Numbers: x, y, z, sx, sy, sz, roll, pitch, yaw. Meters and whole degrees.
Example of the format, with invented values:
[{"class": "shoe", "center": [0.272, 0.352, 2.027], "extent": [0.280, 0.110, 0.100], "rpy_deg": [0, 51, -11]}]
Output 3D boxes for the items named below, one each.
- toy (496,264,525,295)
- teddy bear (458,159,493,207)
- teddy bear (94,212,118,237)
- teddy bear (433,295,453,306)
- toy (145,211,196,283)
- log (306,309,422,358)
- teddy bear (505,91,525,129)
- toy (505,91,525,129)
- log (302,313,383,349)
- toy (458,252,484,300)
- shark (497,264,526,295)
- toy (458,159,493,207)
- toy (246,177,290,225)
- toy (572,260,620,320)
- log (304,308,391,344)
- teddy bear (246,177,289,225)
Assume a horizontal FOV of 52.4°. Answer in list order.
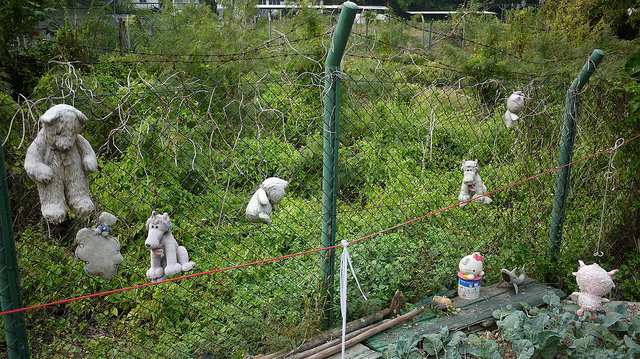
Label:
[{"class": "toy", "center": [3.144, 1.551, 10.406], "extent": [0.540, 0.430, 0.384], "rpy_deg": [5, -3, -35]}, {"class": "teddy bear", "center": [2.373, 0.063, 10.086], "extent": [0.602, 0.712, 0.776], "rpy_deg": [1, 6, 28]}, {"class": "teddy bear", "center": [-2.899, 0.597, 8.748], "extent": [0.269, 0.344, 0.185], "rpy_deg": [1, 20, -7]}, {"class": "teddy bear", "center": [1.907, 1.860, 9.989], "extent": [0.210, 0.063, 0.145], "rpy_deg": [19, 27, 25]}, {"class": "toy", "center": [-2.080, 0.932, 8.828], "extent": [0.597, 0.997, 0.319], "rpy_deg": [-3, 20, -16]}, {"class": "log", "center": [0.621, 2.306, 9.587], "extent": [2.173, 0.296, 0.251], "rpy_deg": [-15, 3, -21]}, {"class": "teddy bear", "center": [3.037, -1.098, 10.150], "extent": [0.272, 0.613, 0.442], "rpy_deg": [-6, 29, -1]}, {"class": "toy", "center": [3.064, -1.081, 10.147], "extent": [0.230, 0.513, 0.373], "rpy_deg": [-6, 52, 12]}, {"class": "log", "center": [0.311, 2.260, 9.614], "extent": [1.295, 0.157, 0.174], "rpy_deg": [-20, 13, -7]}, {"class": "toy", "center": [2.351, 1.494, 10.118], "extent": [0.371, 0.706, 0.268], "rpy_deg": [5, 20, 7]}, {"class": "shark", "center": [3.129, 1.572, 10.423], "extent": [0.684, 0.456, 0.337], "rpy_deg": [11, 3, -42]}, {"class": "toy", "center": [2.378, 0.055, 10.088], "extent": [0.596, 0.733, 0.753], "rpy_deg": [4, 8, 30]}, {"class": "toy", "center": [-0.730, 0.283, 9.209], "extent": [0.634, 0.692, 0.511], "rpy_deg": [-2, 21, -11]}, {"class": "toy", "center": [4.223, 1.729, 9.961], "extent": [0.830, 1.016, 0.440], "rpy_deg": [4, 3, 24]}, {"class": "log", "center": [0.383, 2.199, 9.651], "extent": [1.149, 0.098, 0.254], "rpy_deg": [-20, 33, -9]}, {"class": "teddy bear", "center": [-0.751, 0.284, 9.185], "extent": [0.638, 0.700, 0.495], "rpy_deg": [-4, 19, -12]}]
